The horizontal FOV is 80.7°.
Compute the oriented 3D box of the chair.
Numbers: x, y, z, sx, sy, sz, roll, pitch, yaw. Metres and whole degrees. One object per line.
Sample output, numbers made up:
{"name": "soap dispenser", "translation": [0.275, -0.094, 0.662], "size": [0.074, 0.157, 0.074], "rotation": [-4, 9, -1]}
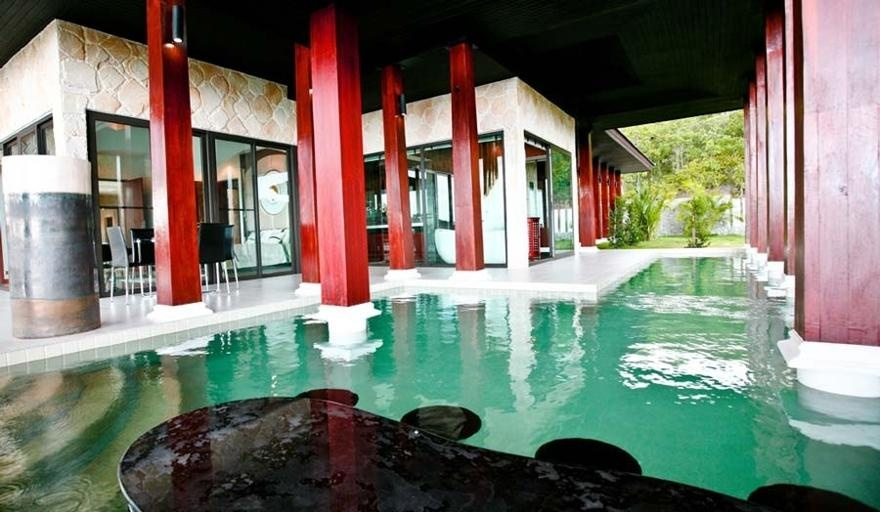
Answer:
{"name": "chair", "translation": [-4.361, -0.013, 8.385], "size": [1.600, 0.942, 1.553], "rotation": [-1, 1, 13]}

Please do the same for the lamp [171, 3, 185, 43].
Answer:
{"name": "lamp", "translation": [-3.396, -3.012, 6.707], "size": [0.152, 0.527, 0.169], "rotation": [-6, 2, -30]}
